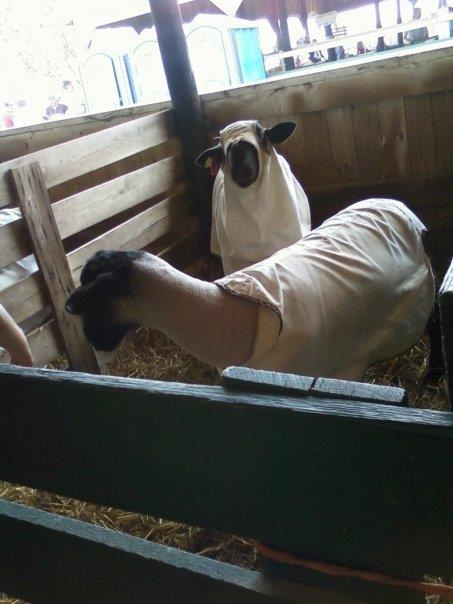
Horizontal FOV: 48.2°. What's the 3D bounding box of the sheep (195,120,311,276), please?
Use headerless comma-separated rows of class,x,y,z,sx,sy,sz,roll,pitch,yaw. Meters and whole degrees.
sheep,0.185,-0.719,3.131,0.655,0.773,0.881,-10,21,8

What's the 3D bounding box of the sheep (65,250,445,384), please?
sheep,-0.148,0.021,1.599,0.675,0.394,0.203,-3,10,14

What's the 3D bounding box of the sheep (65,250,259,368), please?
sheep,-0.267,0.050,1.735,0.617,0.443,0.221,12,44,-44
